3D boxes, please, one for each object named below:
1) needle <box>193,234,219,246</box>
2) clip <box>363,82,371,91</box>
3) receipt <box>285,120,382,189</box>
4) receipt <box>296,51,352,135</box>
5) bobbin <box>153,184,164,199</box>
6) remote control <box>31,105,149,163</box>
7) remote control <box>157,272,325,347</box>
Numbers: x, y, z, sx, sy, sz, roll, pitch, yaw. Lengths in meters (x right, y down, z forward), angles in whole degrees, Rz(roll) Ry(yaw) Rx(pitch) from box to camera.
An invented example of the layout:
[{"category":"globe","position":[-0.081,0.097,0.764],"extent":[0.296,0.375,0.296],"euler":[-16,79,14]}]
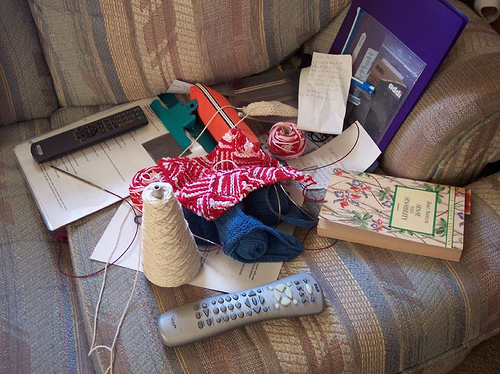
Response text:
[{"category":"needle","position":[-0.092,0.111,0.832],"extent":[0.044,0.005,0.005],"euler":[30,59,2]},{"category":"clip","position":[0.291,-0.250,0.987],"extent":[0.015,0.028,0.016],"euler":[15,89,4]},{"category":"receipt","position":[0.200,-0.058,0.982],"extent":[0.210,0.032,0.141],"euler":[-30,62,-4]},{"category":"receipt","position":[0.198,-0.245,1.015],"extent":[0.150,0.064,0.212],"euler":[7,73,15]},{"category":"bobbin","position":[-0.158,0.009,0.684],"extent":[0.020,0.022,0.024],"euler":[13,40,-5]},{"category":"remote control","position":[-0.388,-0.130,1.017],"extent":[0.081,0.039,0.296],"euler":[8,27,46]},{"category":"remote control","position":[-0.016,0.230,0.752],"extent":[0.320,0.033,0.079],"euler":[-11,54,-6]}]
